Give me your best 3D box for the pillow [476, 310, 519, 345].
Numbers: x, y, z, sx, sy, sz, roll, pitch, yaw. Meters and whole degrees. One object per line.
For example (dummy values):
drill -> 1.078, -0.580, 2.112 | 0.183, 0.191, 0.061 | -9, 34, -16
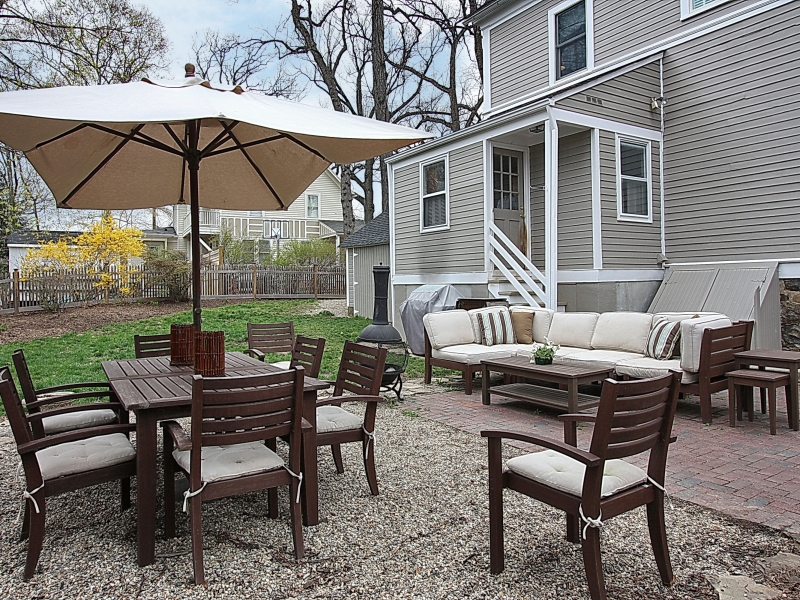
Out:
pillow -> 1.490, 0.407, 9.188 | 0.561, 0.523, 0.180 | -1, -14, -10

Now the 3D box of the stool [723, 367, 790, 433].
stool -> 4.146, 1.076, 6.911 | 0.709, 0.672, 0.729 | 1, 4, 44

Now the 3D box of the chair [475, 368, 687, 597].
chair -> 1.600, 1.090, 4.887 | 1.622, 1.971, 1.454 | 1, 1, -42

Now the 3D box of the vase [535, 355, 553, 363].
vase -> 1.829, 0.759, 7.510 | 0.120, 0.070, 0.120 | 1, 2, 36

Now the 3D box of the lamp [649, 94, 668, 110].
lamp -> 4.811, -3.634, 11.072 | 0.215, 0.359, 0.132 | 4, 2, -14

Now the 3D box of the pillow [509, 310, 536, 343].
pillow -> 1.933, 0.430, 9.261 | 0.216, 0.526, 0.471 | 9, -9, -44

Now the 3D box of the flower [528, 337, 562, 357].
flower -> 2.133, 0.652, 8.560 | 0.329, 0.159, 0.334 | -1, 1, 27

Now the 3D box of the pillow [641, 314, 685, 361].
pillow -> 3.417, 0.471, 7.663 | 0.387, 0.515, 0.438 | 1, 11, 6
